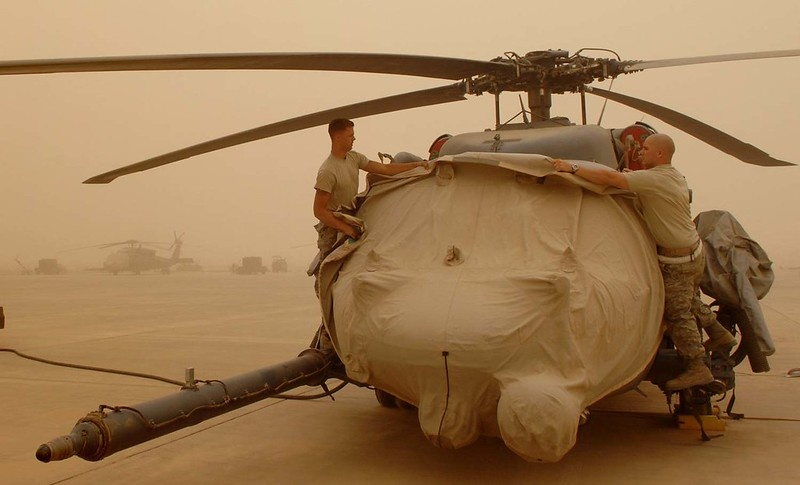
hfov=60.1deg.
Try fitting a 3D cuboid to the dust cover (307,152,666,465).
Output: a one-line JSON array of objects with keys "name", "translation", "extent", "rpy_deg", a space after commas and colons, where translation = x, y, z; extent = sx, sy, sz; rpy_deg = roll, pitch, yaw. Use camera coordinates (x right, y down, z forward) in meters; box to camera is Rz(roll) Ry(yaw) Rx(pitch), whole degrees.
[{"name": "dust cover", "translation": [0.865, 0.484, 6.605], "extent": [2.921, 2.728, 1.555], "rpy_deg": [0, 5, 16]}]

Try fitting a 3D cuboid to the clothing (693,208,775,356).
[{"name": "clothing", "translation": [3.701, 0.497, 7.735], "extent": [0.878, 1.731, 0.882], "rpy_deg": [1, 0, -7]}]

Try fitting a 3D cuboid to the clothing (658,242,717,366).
[{"name": "clothing", "translation": [2.997, 0.599, 7.253], "extent": [0.431, 1.190, 0.594], "rpy_deg": [0, 25, 33]}]

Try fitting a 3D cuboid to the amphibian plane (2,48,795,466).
[{"name": "amphibian plane", "translation": [0.398, 0.626, 7.385], "extent": [4.684, 1.693, 4.779], "rpy_deg": [3, 8, 30]}]

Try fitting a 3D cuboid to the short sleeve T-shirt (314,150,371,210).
[{"name": "short sleeve T-shirt", "translation": [-0.618, -0.668, 7.506], "extent": [0.337, 0.632, 0.878], "rpy_deg": [18, 30, 33]}]
